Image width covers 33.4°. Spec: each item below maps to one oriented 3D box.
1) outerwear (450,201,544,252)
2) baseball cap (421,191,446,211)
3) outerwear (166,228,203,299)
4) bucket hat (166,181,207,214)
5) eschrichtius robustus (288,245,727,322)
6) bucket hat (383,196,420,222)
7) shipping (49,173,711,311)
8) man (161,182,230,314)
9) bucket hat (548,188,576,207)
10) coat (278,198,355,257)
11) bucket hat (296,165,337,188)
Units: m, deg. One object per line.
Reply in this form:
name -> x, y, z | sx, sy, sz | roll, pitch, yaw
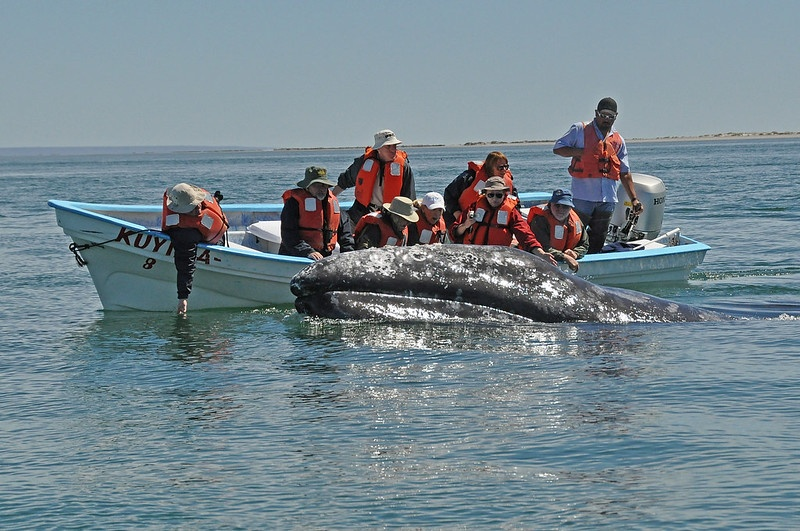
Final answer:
outerwear -> 1.515, -0.581, 20.573 | 1.030, 0.737, 0.230 | 16, 8, -1
baseball cap -> 0.540, -0.984, 20.534 | 0.285, 0.157, 0.352 | 2, -2, -18
outerwear -> -3.282, -0.058, 20.739 | 0.499, 1.040, 0.872 | -6, 13, -9
bucket hat -> -3.286, -1.033, 20.687 | 0.616, 0.457, 0.480 | -10, 14, -32
eschrichtius robustus -> 1.579, 0.212, 17.490 | 7.666, 1.024, 1.256 | 2, -4, -1
bucket hat -> 0.060, -0.848, 19.871 | 0.515, 0.170, 0.398 | 23, 16, 8
shipping -> 0.912, -0.059, 23.274 | 12.739, 2.125, 3.754 | 0, 2, -26
man -> -3.231, -0.194, 21.018 | 0.848, 2.083, 1.357 | -8, -34, 3
bucket hat -> 2.605, -1.083, 21.508 | 0.327, 0.151, 0.359 | 4, -4, -10
coat -> -1.215, -0.673, 21.160 | 1.466, 1.059, 1.027 | -1, -2, -44
bucket hat -> -1.294, -1.358, 20.622 | 0.514, 0.187, 0.429 | 0, -3, -5
